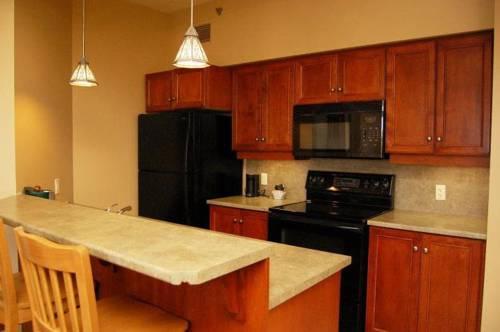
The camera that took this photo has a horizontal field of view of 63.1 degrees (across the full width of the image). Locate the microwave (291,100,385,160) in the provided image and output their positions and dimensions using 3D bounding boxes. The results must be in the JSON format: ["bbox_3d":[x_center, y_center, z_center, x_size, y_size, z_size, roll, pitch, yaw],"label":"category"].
[{"bbox_3d":[0.935,-0.343,4.125,0.908,0.532,0.568,4,12,33],"label":"microwave"}]

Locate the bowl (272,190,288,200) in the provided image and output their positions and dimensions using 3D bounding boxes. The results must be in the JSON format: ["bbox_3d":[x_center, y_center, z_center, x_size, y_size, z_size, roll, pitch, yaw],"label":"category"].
[{"bbox_3d":[0.316,0.324,4.467,0.129,0.087,0.104,0,-4,32],"label":"bowl"}]

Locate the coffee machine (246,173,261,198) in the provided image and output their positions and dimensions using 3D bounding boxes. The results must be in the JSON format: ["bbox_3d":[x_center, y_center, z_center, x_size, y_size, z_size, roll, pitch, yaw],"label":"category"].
[{"bbox_3d":[0.042,0.231,4.634,0.234,0.291,0.213,1,0,-43],"label":"coffee machine"}]

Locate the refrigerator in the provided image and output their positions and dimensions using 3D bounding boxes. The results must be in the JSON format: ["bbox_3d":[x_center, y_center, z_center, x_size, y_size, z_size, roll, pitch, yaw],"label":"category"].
[{"bbox_3d":[-0.684,0.055,4.660,1.156,1.279,0.570,0,2,-9],"label":"refrigerator"}]

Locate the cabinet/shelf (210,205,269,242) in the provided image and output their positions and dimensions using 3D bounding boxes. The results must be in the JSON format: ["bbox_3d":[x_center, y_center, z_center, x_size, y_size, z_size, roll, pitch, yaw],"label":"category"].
[{"bbox_3d":[-0.036,0.595,4.389,0.677,0.404,0.357,7,15,22],"label":"cabinet/shelf"}]

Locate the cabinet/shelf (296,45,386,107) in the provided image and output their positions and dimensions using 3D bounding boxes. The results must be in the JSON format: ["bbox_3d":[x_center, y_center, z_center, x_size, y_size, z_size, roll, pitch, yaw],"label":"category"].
[{"bbox_3d":[0.916,-0.851,4.024,0.905,0.514,0.338,2,6,31],"label":"cabinet/shelf"}]

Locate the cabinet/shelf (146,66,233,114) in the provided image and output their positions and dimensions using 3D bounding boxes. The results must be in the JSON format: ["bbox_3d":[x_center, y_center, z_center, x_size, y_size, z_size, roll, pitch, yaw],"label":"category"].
[{"bbox_3d":[-0.737,-0.871,4.880,1.149,0.470,0.434,3,4,40],"label":"cabinet/shelf"}]

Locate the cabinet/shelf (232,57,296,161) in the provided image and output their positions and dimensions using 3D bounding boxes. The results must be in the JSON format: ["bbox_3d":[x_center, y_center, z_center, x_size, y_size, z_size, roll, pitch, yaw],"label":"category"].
[{"bbox_3d":[0.253,-0.575,4.559,0.767,1.000,0.443,4,7,31],"label":"cabinet/shelf"}]
